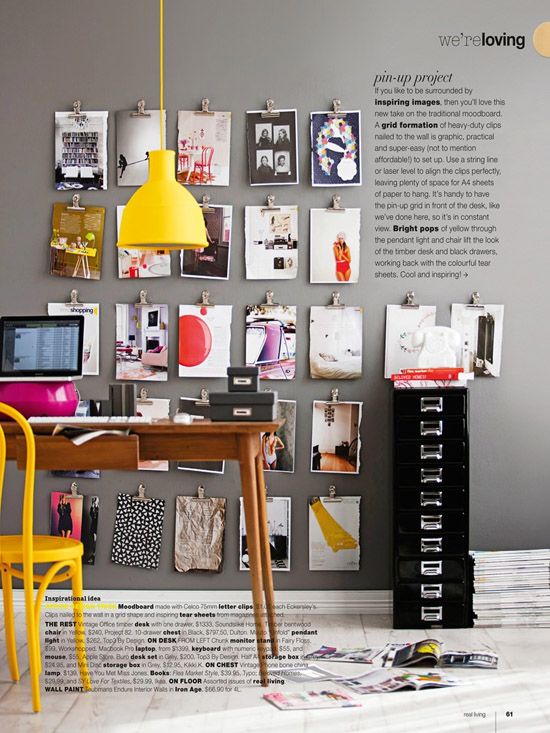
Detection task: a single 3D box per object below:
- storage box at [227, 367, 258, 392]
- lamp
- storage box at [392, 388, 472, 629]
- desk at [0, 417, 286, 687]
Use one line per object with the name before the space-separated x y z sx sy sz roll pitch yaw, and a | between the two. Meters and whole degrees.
storage box | -0.103 0.039 2.090 0.094 0.088 0.179 0 -4 -5
lamp | -0.405 -0.966 2.491 0.284 1.212 0.831 0 -4 -7
storage box | 0.604 0.547 2.554 0.287 0.926 0.088 0 -5 2
desk | -0.443 0.692 2.382 0.906 0.676 0.358 -1 -2 2
